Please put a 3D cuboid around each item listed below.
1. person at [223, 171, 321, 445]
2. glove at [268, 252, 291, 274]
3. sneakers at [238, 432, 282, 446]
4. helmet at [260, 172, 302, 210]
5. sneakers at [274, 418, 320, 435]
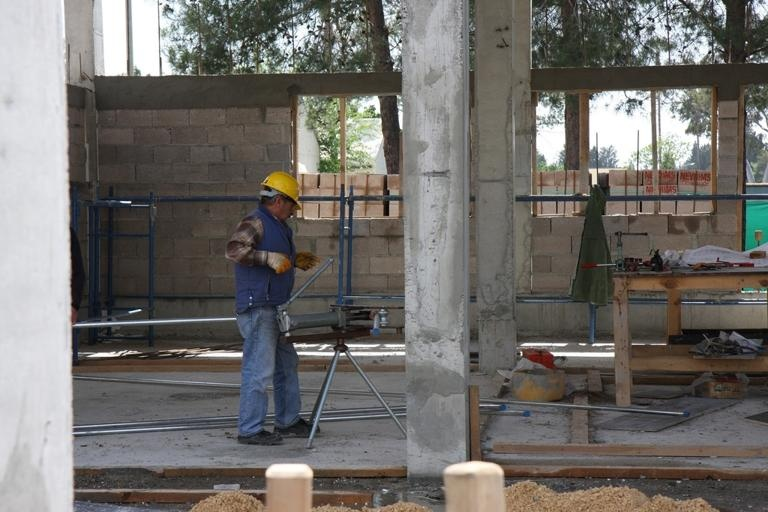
[{"bbox_3d":[-1.450,0.668,19.061,0.722,3.422,0.935,4,8,39],"label":"person"},{"bbox_3d":[-1.326,0.082,18.815,0.278,0.229,0.127,4,20,23],"label":"glove"},{"bbox_3d":[-1.571,2.326,18.941,0.524,0.207,0.210,-2,-1,4],"label":"sneakers"},{"bbox_3d":[-1.283,-0.850,19.190,0.525,0.267,0.407,24,1,-28],"label":"helmet"},{"bbox_3d":[-1.128,2.195,19.182,0.516,0.243,0.236,-1,-5,-3],"label":"sneakers"}]
